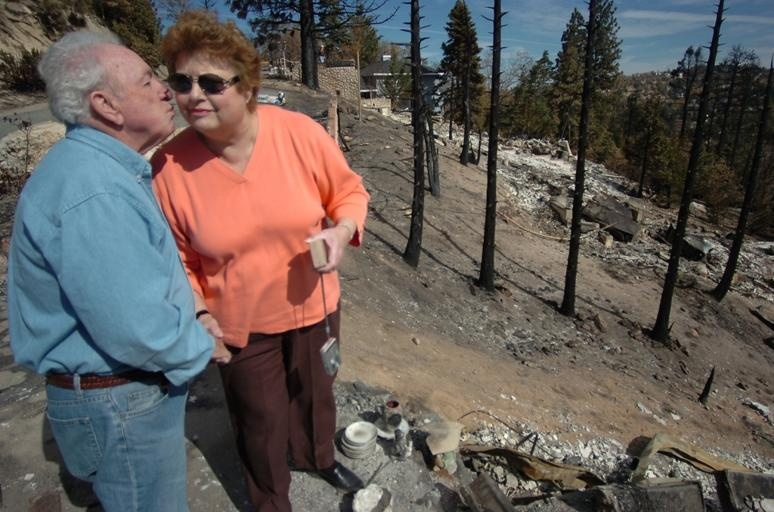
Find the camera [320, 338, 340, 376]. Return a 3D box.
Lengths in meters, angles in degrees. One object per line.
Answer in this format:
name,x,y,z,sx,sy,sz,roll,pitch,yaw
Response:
camera,-0.416,0.760,3.562,0.073,0.256,0.190,-3,36,20

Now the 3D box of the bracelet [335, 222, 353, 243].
bracelet,-0.296,-0.181,3.333,0.124,0.092,0.124,-24,52,-22

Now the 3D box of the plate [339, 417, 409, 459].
plate,-0.130,1.678,4.371,0.433,0.190,0.362,-1,16,-31

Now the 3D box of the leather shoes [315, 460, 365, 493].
leather shoes,-0.412,1.828,3.998,0.457,0.155,0.183,19,26,29
